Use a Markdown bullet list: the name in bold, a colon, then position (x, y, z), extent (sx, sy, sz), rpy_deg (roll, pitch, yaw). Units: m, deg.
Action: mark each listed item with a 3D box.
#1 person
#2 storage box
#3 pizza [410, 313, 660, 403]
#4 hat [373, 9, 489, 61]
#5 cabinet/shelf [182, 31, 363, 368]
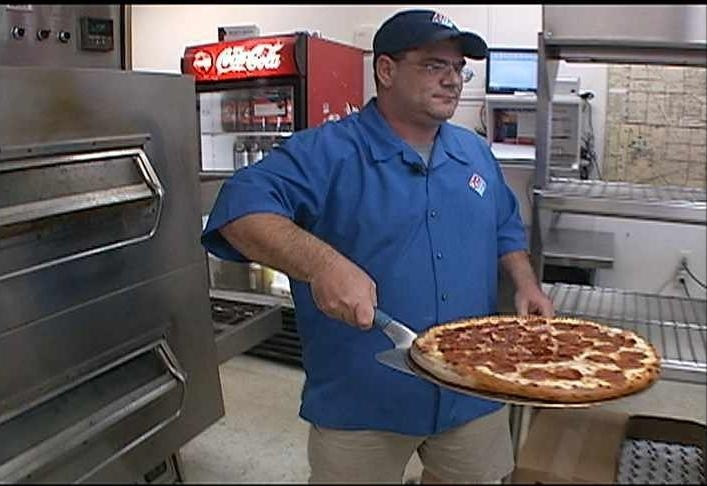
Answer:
- **person**: position (0.188, 0.150, 1.922), extent (1.340, 2.076, 0.711), rpy_deg (-6, 15, -37)
- **storage box**: position (1.012, 0.938, 2.252), extent (0.318, 0.093, 0.461), rpy_deg (3, 10, 28)
- **pizza**: position (0.562, 0.414, 1.740), extent (0.703, 0.078, 0.777), rpy_deg (5, 4, 13)
- **hat**: position (0.281, -0.792, 1.952), extent (0.324, 0.151, 0.235), rpy_deg (-5, 20, 31)
- **cabinet/shelf**: position (-0.873, -0.733, 5.851), extent (1.714, 3.085, 1.533), rpy_deg (2, 9, 27)
